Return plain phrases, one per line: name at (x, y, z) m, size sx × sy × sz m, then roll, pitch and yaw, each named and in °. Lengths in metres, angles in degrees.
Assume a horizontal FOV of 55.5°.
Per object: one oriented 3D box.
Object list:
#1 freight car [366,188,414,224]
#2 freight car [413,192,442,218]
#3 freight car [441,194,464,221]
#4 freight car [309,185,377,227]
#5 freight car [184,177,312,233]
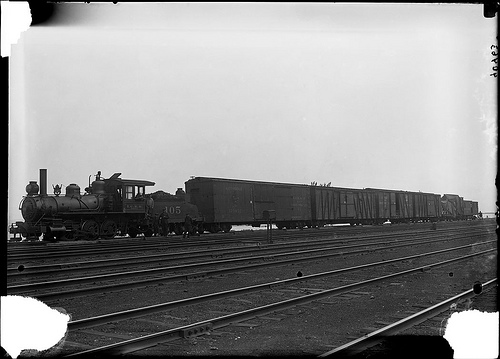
freight car at (15.140, 2.973, 51.366) m, size 6.548 × 3.792 × 1.943 m, roll 2°, pitch -6°, yaw -30°
freight car at (20.350, 3.161, 56.434) m, size 3.718 × 2.772 × 2.200 m, roll 0°, pitch -11°, yaw 2°
freight car at (26.540, 3.385, 62.426) m, size 2.785 × 2.977 × 1.601 m, roll 2°, pitch -3°, yaw -18°
freight car at (8.261, 2.538, 44.978) m, size 8.068 × 3.845 × 2.860 m, roll 3°, pitch -3°, yaw -27°
freight car at (0.720, 2.210, 37.699) m, size 2.559 × 4.700 × 13.011 m, roll -4°, pitch -5°, yaw 43°
